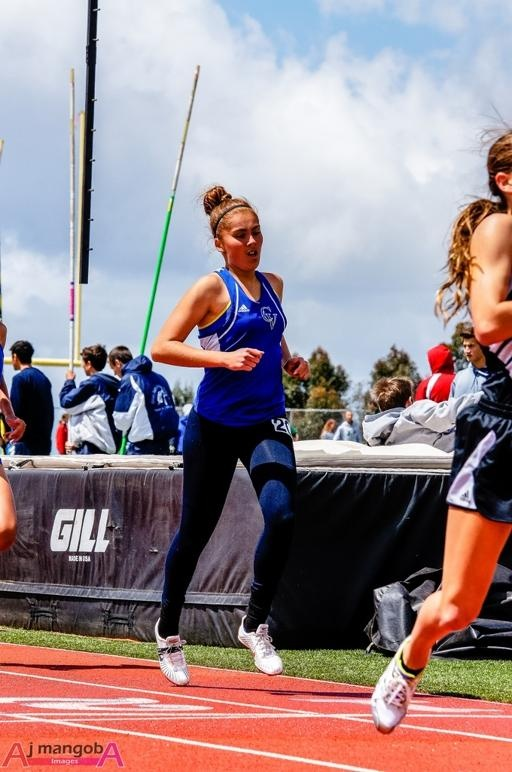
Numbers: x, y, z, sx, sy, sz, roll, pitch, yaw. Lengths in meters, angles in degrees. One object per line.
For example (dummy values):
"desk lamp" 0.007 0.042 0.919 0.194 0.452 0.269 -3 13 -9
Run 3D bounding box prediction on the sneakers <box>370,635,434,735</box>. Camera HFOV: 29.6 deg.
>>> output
"sneakers" 0.332 0.756 2.434 0.093 0.269 0.111 28 -9 1

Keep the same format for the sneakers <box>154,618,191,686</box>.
"sneakers" -0.302 0.983 3.530 0.080 0.205 0.081 -11 -35 -18
